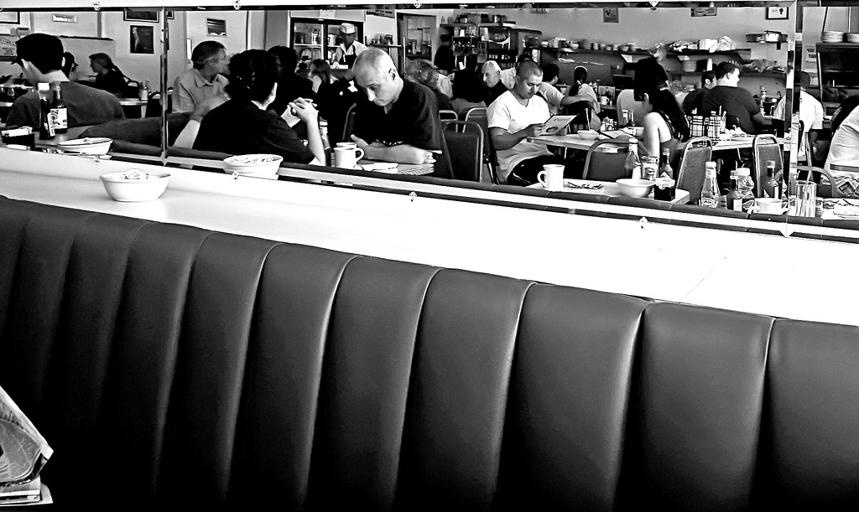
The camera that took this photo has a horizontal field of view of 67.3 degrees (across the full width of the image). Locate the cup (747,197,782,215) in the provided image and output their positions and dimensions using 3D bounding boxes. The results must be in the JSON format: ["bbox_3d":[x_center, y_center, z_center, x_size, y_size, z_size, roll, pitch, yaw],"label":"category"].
[{"bbox_3d":[0.894,-0.134,1.718,0.070,0.041,0.043,-3,-1,27],"label":"cup"}]

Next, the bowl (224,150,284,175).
[{"bbox_3d":[-0.630,-0.329,2.320,0.197,0.079,0.109,5,11,16],"label":"bowl"}]

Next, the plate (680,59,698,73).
[{"bbox_3d":[3.343,-2.464,8.336,0.169,0.146,0.161,0,1,3],"label":"plate"}]

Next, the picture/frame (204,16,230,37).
[{"bbox_3d":[-0.749,-0.811,2.262,0.074,0.056,0.009,-1,19,-17],"label":"picture/frame"}]

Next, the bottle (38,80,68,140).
[{"bbox_3d":[-1.541,-0.596,2.647,0.101,0.219,0.222,-3,12,-30],"label":"bottle"}]

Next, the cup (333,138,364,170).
[{"bbox_3d":[-0.298,-0.371,2.344,0.133,0.102,0.086,3,4,-17],"label":"cup"}]

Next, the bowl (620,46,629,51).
[{"bbox_3d":[2.662,-2.844,8.832,0.090,0.056,0.085,3,8,0],"label":"bowl"}]

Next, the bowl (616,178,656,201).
[{"bbox_3d":[0.633,-0.213,1.989,0.115,0.047,0.116,2,10,0],"label":"bowl"}]

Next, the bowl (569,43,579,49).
[{"bbox_3d":[1.940,-2.828,8.689,0.112,0.064,0.058,7,11,22],"label":"bowl"}]

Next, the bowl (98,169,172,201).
[{"bbox_3d":[-0.995,-0.238,2.184,0.197,0.101,0.146,-4,12,-33],"label":"bowl"}]
